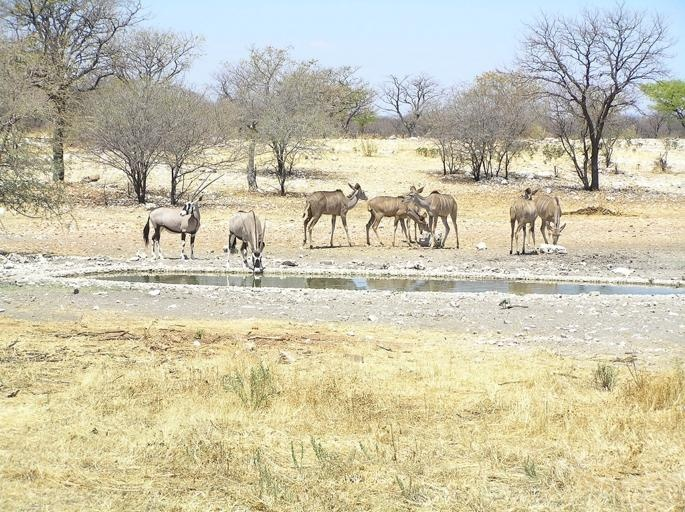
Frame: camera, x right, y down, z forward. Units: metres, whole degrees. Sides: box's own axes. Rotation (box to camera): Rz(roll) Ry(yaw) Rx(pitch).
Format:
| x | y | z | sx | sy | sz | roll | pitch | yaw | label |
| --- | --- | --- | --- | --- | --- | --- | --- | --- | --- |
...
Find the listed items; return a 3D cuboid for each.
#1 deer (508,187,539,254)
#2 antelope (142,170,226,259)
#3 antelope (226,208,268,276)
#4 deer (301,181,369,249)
| x | y | z | sx | sy | sz | roll | pitch | yaw | label |
| --- | --- | --- | --- | --- | --- | --- | --- | --- | --- |
| 5.790 | -1.138 | 26.241 | 0.836 | 2.103 | 3.986 | 4 | 14 | 12 | deer |
| -4.668 | -0.984 | 23.115 | 1.940 | 2.151 | 1.065 | 8 | 13 | 12 | antelope |
| -2.677 | -0.491 | 22.650 | 0.950 | 1.692 | 2.574 | -1 | 14 | -8 | antelope |
| -0.212 | -1.440 | 27.726 | 2.651 | 2.143 | 0.673 | -4 | 9 | -40 | deer |
